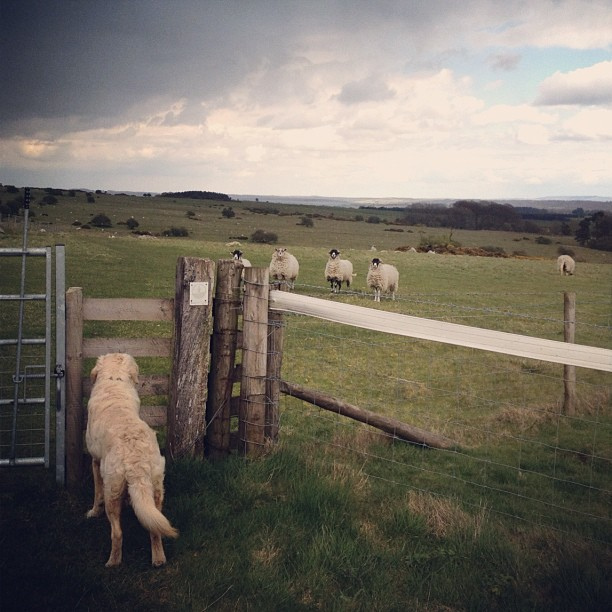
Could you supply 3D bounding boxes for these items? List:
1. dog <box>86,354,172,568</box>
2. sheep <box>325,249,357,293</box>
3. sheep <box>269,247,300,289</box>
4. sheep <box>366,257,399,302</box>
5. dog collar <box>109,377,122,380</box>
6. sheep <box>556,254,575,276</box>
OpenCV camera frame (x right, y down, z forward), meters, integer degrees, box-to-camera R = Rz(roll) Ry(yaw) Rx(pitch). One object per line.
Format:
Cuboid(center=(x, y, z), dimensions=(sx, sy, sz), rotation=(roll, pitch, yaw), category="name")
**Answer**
Cuboid(center=(-1.961, 1.630, 6.126), dimensions=(0.734, 1.741, 2.137), rotation=(-2, 7, -22), category="dog")
Cuboid(center=(1.531, -1.683, 26.881), dimensions=(0.892, 1.926, 2.352), rotation=(3, 7, 15), category="sheep")
Cuboid(center=(-1.009, -1.839, 26.345), dimensions=(1.144, 1.624, 2.122), rotation=(1, 7, -2), category="sheep")
Cuboid(center=(3.409, -1.037, 24.830), dimensions=(0.759, 1.876, 2.614), rotation=(5, 0, 35), category="sheep")
Cuboid(center=(-2.267, 0.865, 6.778), dimensions=(0.138, 0.027, 0.035), rotation=(0, 7, -12), category="dog collar")
Cuboid(center=(19.143, -2.991, 41.904), dimensions=(1.119, 1.109, 1.978), rotation=(2, 7, 10), category="sheep")
